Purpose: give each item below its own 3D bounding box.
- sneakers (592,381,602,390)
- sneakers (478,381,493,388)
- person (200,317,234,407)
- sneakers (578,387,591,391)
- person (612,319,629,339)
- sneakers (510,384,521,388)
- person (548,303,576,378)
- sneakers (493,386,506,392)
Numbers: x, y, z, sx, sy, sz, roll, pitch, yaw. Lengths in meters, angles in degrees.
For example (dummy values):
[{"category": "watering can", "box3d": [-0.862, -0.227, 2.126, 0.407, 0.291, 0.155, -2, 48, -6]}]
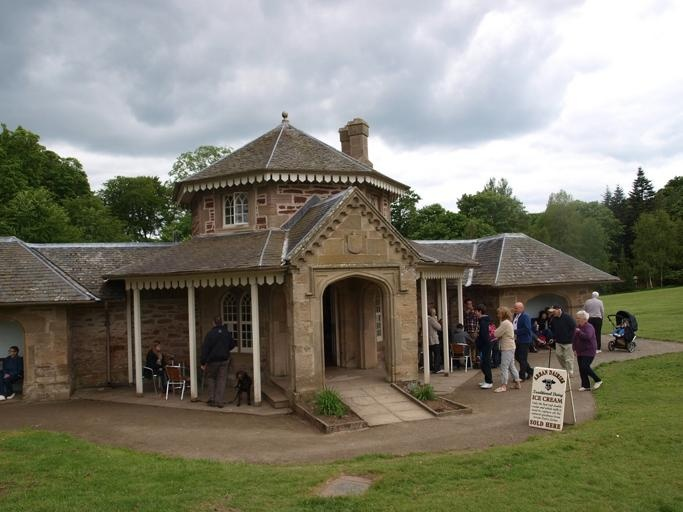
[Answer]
[{"category": "sneakers", "box3d": [7.346, 3.757, 17.183, 0.160, 0.174, 0.407, -28, 1, 44]}, {"category": "sneakers", "box3d": [4.577, 4.138, 19.020, 0.445, 0.159, 0.153, 0, -1, 17]}, {"category": "person", "box3d": [-3.859, 3.293, 18.483, 0.975, 2.730, 0.614, 1, -8, -10]}, {"category": "sneakers", "box3d": [6.994, 3.858, 17.196, 0.331, 0.126, 0.116, 3, -6, -4]}, {"category": "person", "box3d": [10.563, 2.784, 22.353, 0.696, 0.872, 0.390, -4, -9, 25]}, {"category": "sneakers", "box3d": [5.393, 4.034, 18.485, 0.128, 0.170, 0.271, 1, 1, -44]}, {"category": "person", "box3d": [6.573, 2.486, 17.669, 0.827, 2.019, 0.774, -11, -7, 41]}, {"category": "sneakers", "box3d": [4.882, 4.109, 18.305, 0.419, 0.158, 0.158, 2, -7, -13]}]
